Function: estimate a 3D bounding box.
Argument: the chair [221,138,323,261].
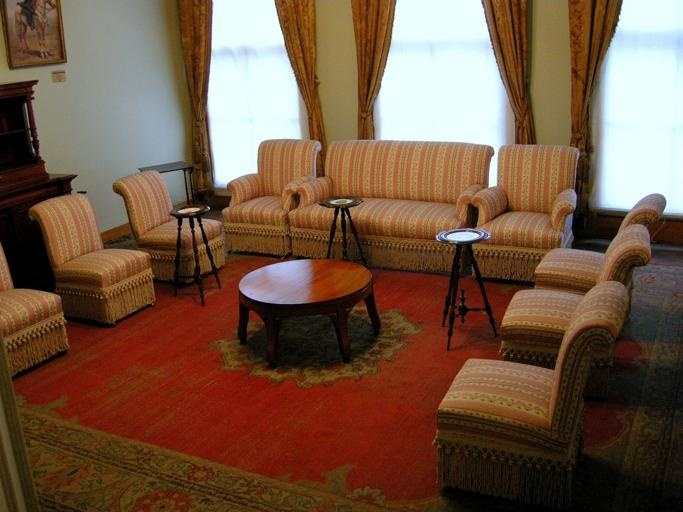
[{"bbox_3d":[-0.718,-0.698,6.135,0.992,1.405,1.288,5,16,17],"label":"chair"}]

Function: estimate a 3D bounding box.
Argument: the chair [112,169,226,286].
[{"bbox_3d":[-1.696,-0.296,5.303,0.835,0.943,0.651,7,20,19],"label":"chair"}]

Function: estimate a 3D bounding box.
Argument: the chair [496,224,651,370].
[{"bbox_3d":[1.709,0.179,3.738,0.933,0.814,1.595,-5,11,35],"label":"chair"}]

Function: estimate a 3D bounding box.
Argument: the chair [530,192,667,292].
[{"bbox_3d":[1.778,-0.005,3.757,0.632,0.545,1.126,10,20,28],"label":"chair"}]

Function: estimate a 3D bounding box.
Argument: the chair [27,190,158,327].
[{"bbox_3d":[-2.131,0.007,4.604,0.787,1.020,0.707,1,16,4],"label":"chair"}]

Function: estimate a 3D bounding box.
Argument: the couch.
[{"bbox_3d":[0.479,-0.549,5.503,1.818,1.294,1.200,6,9,22],"label":"couch"}]

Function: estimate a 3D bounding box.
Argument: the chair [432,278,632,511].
[{"bbox_3d":[0.905,0.491,2.904,1.028,1.298,0.816,11,25,28],"label":"chair"}]

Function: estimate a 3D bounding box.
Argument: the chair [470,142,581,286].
[{"bbox_3d":[1.690,-0.397,4.862,0.960,1.136,0.923,-11,17,-33],"label":"chair"}]

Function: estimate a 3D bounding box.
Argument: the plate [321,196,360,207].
[{"bbox_3d":[0.001,-0.479,4.962,0.359,0.046,0.360,-1,19,8],"label":"plate"}]

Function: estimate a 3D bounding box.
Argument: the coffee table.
[{"bbox_3d":[-0.254,0.408,4.058,1.122,0.444,0.884,-5,19,-3],"label":"coffee table"}]
